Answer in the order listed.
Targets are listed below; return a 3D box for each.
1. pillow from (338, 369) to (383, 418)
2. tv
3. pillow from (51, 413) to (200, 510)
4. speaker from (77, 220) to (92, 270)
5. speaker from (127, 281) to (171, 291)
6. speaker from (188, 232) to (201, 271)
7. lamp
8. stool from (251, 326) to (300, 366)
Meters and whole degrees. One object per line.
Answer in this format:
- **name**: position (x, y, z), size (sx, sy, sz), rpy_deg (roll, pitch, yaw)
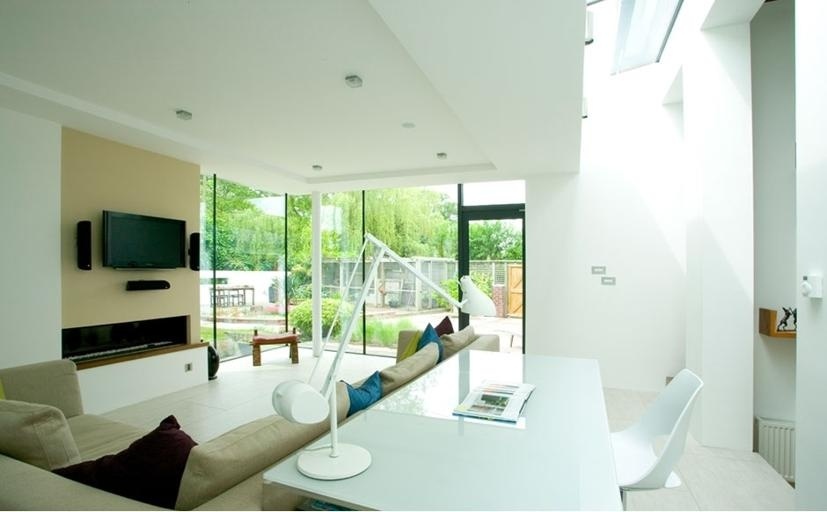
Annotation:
- **pillow**: position (-0.414, 1.118, 4.764), size (0.300, 0.116, 0.301), rpy_deg (-25, 4, -17)
- **tv**: position (-3.270, -0.189, 7.054), size (0.126, 0.660, 1.013), rpy_deg (-2, -1, 37)
- **pillow**: position (-1.944, 1.509, 3.997), size (0.702, 0.233, 0.790), rpy_deg (18, 3, 1)
- **speaker**: position (-3.702, -0.112, 6.515), size (0.143, 0.550, 0.158), rpy_deg (-1, -1, -36)
- **speaker**: position (-3.239, 0.355, 7.113), size (0.099, 0.133, 0.569), rpy_deg (-2, -1, 34)
- **speaker**: position (-2.881, -0.058, 7.557), size (0.118, 0.473, 0.080), rpy_deg (-1, -1, -41)
- **lamp**: position (-0.167, 0.688, 4.303), size (1.712, 1.583, 0.478), rpy_deg (1, 0, -22)
- **stool**: position (-2.157, 1.383, 8.907), size (0.809, 0.462, 0.616), rpy_deg (0, 2, -13)
